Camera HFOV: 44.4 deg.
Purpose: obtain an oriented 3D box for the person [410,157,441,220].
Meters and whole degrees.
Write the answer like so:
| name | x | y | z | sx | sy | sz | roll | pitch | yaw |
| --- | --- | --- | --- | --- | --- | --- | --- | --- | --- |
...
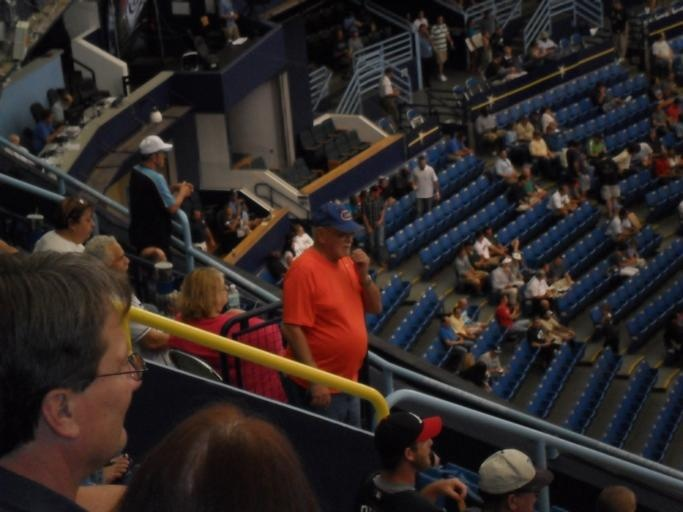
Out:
| name | x | y | z | sx | sy | sz | roll | pitch | yaw |
| --- | --- | --- | --- | --- | --- | --- | --- | --- | --- |
| person | 1.518 | -1.103 | 15.243 | 0.519 | 1.298 | 0.451 | 2 | 25 | 13 |

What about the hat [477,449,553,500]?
| name | x | y | z | sx | sy | sz | roll | pitch | yaw |
| --- | --- | --- | --- | --- | --- | --- | --- | --- | --- |
| hat | 0.730 | 0.908 | 3.580 | 0.240 | 0.137 | 0.175 | -11 | 20 | -5 |

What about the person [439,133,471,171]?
| name | x | y | z | sx | sy | sz | roll | pitch | yaw |
| --- | --- | --- | --- | --- | --- | --- | --- | --- | --- |
| person | 2.341 | -2.098 | 17.372 | 0.640 | 0.980 | 0.673 | 2 | 23 | 1 |

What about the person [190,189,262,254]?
| name | x | y | z | sx | sy | sz | roll | pitch | yaw |
| --- | --- | --- | --- | --- | --- | --- | --- | --- | --- |
| person | -1.870 | -0.507 | 13.313 | 0.706 | 0.896 | 0.662 | 16 | 31 | 33 |

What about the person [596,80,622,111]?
| name | x | y | z | sx | sy | sz | roll | pitch | yaw |
| --- | --- | --- | --- | --- | --- | --- | --- | --- | --- |
| person | 6.292 | -3.814 | 19.913 | 0.751 | 0.815 | 0.611 | -3 | 28 | 16 |

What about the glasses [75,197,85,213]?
| name | x | y | z | sx | sy | sz | roll | pitch | yaw |
| --- | --- | --- | --- | --- | --- | --- | --- | --- | --- |
| glasses | -1.610 | -0.306 | 5.109 | 0.073 | 0.054 | 0.092 | 17 | 0 | -27 |

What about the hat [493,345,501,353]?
| name | x | y | z | sx | sy | sz | roll | pitch | yaw |
| --- | --- | --- | --- | --- | --- | --- | --- | --- | --- |
| hat | 2.233 | 1.353 | 12.042 | 0.103 | 0.113 | 0.133 | 18 | -20 | -3 |

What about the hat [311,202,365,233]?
| name | x | y | z | sx | sy | sz | roll | pitch | yaw |
| --- | --- | --- | --- | --- | --- | --- | --- | --- | --- |
| hat | -0.028 | -0.174 | 4.107 | 0.208 | 0.122 | 0.140 | 15 | 23 | 9 |

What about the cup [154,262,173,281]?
| name | x | y | z | sx | sy | sz | roll | pitch | yaw |
| --- | --- | --- | --- | --- | --- | --- | --- | --- | --- |
| cup | -1.088 | 0.112 | 5.057 | 0.095 | 0.090 | 0.100 | 2 | 26 | -1 |

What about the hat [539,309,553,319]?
| name | x | y | z | sx | sy | sz | roll | pitch | yaw |
| --- | --- | --- | --- | --- | --- | --- | --- | --- | --- |
| hat | 3.207 | 0.947 | 13.071 | 0.129 | 0.133 | 0.138 | 14 | 35 | 20 |

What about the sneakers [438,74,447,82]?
| name | x | y | z | sx | sy | sz | roll | pitch | yaw |
| --- | --- | --- | --- | --- | --- | --- | --- | --- | --- |
| sneakers | 2.538 | -4.431 | 20.988 | 0.213 | 0.124 | 0.098 | 42 | -10 | 33 |

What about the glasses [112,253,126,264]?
| name | x | y | z | sx | sy | sz | roll | pitch | yaw |
| --- | --- | --- | --- | --- | --- | --- | --- | --- | --- |
| glasses | -1.301 | 0.020 | 4.892 | 0.027 | 0.046 | 0.030 | -6 | 47 | 8 |

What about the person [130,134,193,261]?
| name | x | y | z | sx | sy | sz | roll | pitch | yaw |
| --- | --- | --- | --- | --- | --- | --- | --- | --- | --- |
| person | -1.415 | -0.280 | 6.592 | 0.444 | 1.332 | 0.497 | -14 | 33 | -35 |

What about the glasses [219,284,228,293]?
| name | x | y | z | sx | sy | sz | roll | pitch | yaw |
| --- | --- | --- | --- | --- | --- | --- | --- | --- | --- |
| glasses | -0.638 | 0.180 | 4.466 | 0.070 | 0.023 | 0.071 | 7 | 10 | 19 |

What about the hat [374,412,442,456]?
| name | x | y | z | sx | sy | sz | roll | pitch | yaw |
| --- | --- | --- | --- | --- | --- | --- | --- | --- | --- |
| hat | 0.266 | 0.694 | 3.282 | 0.224 | 0.122 | 0.144 | -29 | 22 | -12 |
